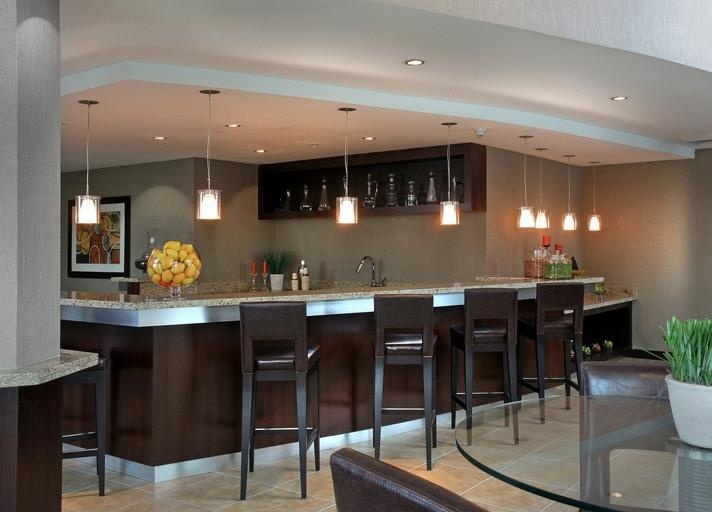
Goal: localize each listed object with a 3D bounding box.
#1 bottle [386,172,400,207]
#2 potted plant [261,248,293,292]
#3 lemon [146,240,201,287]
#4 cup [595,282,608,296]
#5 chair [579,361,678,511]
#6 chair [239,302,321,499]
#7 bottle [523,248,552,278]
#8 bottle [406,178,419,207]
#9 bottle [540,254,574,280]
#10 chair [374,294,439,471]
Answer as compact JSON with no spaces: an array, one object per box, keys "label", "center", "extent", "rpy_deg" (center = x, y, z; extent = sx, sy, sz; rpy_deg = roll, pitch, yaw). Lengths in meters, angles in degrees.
[{"label":"bottle","center":[0.432,-0.805,7.414],"extent":[0.126,0.390,0.237],"rpy_deg":[-5,13,-41]},{"label":"potted plant","center":[-1.082,0.177,8.407],"extent":[0.573,0.694,0.497],"rpy_deg":[1,-4,-3]},{"label":"lemon","center":[-1.240,0.060,4.199],"extent":[0.343,0.314,0.207],"rpy_deg":[1,10,-14]},{"label":"cup","center":[2.984,0.404,7.561],"extent":[0.119,0.219,0.227],"rpy_deg":[0,0,37]},{"label":"chair","center":[1.119,0.712,2.622],"extent":[0.435,0.634,0.443],"rpy_deg":[-2,-9,20]},{"label":"chair","center":[-0.481,0.869,4.101],"extent":[0.547,1.250,0.816],"rpy_deg":[3,9,-3]},{"label":"bottle","center":[1.924,0.082,6.692],"extent":[0.351,0.387,0.275],"rpy_deg":[3,-3,-42]},{"label":"bottle","center":[0.650,-0.748,7.275],"extent":[0.174,0.287,0.162],"rpy_deg":[4,9,-1]},{"label":"bottle","center":[2.067,0.110,6.372],"extent":[0.268,0.256,0.257],"rpy_deg":[1,-2,-37]},{"label":"chair","center":[0.365,0.822,4.452],"extent":[0.510,1.214,0.699],"rpy_deg":[5,10,10]}]
